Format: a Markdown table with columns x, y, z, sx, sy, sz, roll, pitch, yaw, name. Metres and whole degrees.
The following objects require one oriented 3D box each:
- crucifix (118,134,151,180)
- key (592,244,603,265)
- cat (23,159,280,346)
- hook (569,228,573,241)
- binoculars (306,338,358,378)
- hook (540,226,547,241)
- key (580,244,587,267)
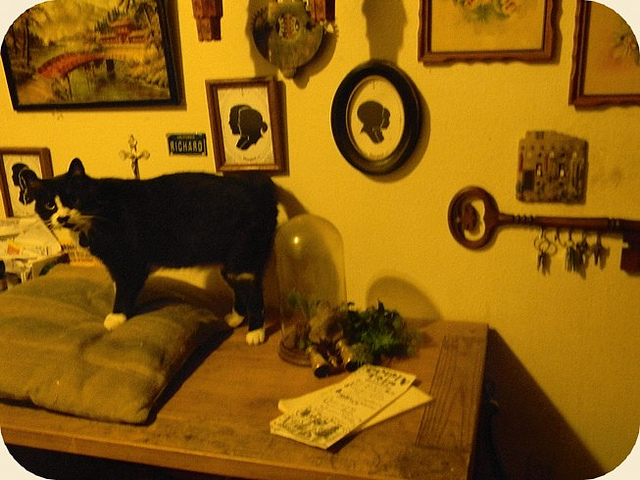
| x | y | z | sx | sy | sz | roll | pitch | yaw | name |
| --- | --- | --- | --- | --- | --- | --- | --- | --- | --- |
| -0.851 | -0.387 | 2.168 | 0.147 | 0.195 | 0.034 | 3 | 9 | 14 | crucifix |
| 1.072 | 0.052 | 1.824 | 0.028 | 0.068 | 0.019 | 2 | 11 | 14 | key |
| -0.693 | 0.031 | 2.028 | 0.993 | 0.732 | 0.379 | 2 | 9 | 10 | cat |
| 0.982 | -0.025 | 1.851 | 0.012 | 0.050 | 0.006 | -3 | 10 | -22 | hook |
| 0.042 | 0.433 | 1.762 | 0.177 | 0.106 | 0.119 | -1 | 9 | -13 | binoculars |
| 0.887 | -0.023 | 1.878 | 0.030 | 0.048 | 0.010 | 18 | 13 | 37 | hook |
| 1.030 | 0.057 | 1.852 | 0.028 | 0.082 | 0.010 | -2 | 9 | -15 | key |
